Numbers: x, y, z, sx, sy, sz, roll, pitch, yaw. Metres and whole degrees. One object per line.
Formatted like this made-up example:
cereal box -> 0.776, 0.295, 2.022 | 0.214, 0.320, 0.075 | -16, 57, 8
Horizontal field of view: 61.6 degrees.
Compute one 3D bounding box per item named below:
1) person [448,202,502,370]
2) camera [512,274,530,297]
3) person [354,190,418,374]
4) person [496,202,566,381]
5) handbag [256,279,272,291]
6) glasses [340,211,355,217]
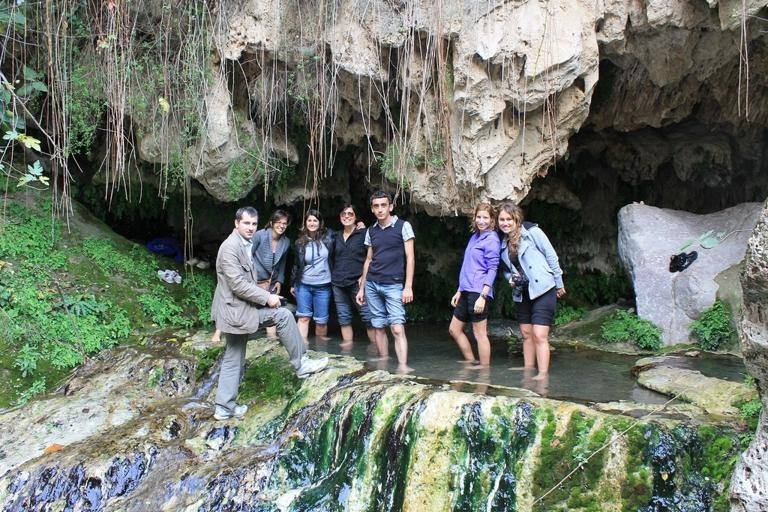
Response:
person -> 1.281, 0.441, 8.916 | 0.490, 2.309, 0.677 | -4, 6, -42
camera -> 1.858, 0.411, 8.705 | 0.204, 0.304, 0.112 | 10, 32, 26
person -> 0.058, 0.340, 9.223 | 0.651, 2.500, 0.975 | -2, 5, -29
person -> 1.983, 0.465, 8.735 | 0.857, 2.354, 0.475 | 1, 4, 17
handbag -> -1.811, 0.445, 9.725 | 0.131, 0.076, 0.182 | 4, 9, 9
glasses -> -0.541, -0.621, 9.575 | 0.191, 0.057, 0.145 | 0, 4, -3
